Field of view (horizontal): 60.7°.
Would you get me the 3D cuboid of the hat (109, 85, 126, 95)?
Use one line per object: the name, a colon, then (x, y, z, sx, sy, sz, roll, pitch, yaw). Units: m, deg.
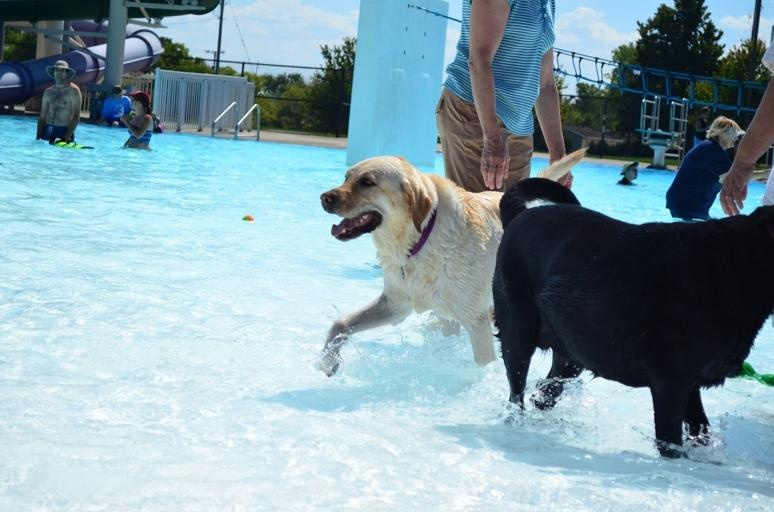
hat: (-8.159, -5.020, 20.067, 0.406, 0.308, 0.308, 0, 11, -36)

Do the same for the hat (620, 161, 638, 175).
hat: (6.213, -2.233, 16.941, 0.496, 0.220, 0.746, 7, 15, 24)

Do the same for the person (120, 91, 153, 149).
person: (-5.629, -3.055, 14.922, 0.586, 1.296, 1.875, 3, 9, -21)

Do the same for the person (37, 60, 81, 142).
person: (-6.863, -3.180, 13.824, 0.801, 1.673, 1.044, 2, 10, -28)
